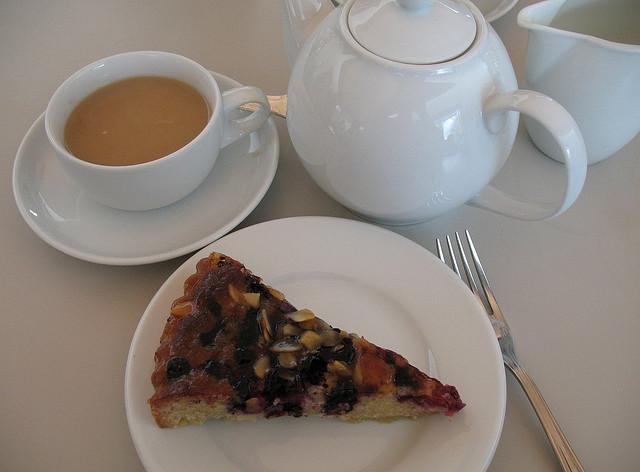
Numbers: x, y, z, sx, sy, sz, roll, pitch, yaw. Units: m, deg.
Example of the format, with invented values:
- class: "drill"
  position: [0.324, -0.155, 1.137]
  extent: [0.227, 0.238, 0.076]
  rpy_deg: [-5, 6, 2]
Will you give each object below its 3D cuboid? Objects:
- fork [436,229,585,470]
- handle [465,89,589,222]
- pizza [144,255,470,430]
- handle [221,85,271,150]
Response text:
- class: "fork"
  position: [0.300, 0.193, 0.864]
  extent: [0.036, 0.038, 0.360]
  rpy_deg: [-11, 67, -19]
- class: "handle"
  position: [0.322, -0.119, 0.882]
  extent: [0.189, 0.220, 0.104]
  rpy_deg: [28, 72, 8]
- class: "pizza"
  position: [-0.046, 0.195, 0.822]
  extent: [0.352, 0.099, 0.262]
  rpy_deg: [16, 54, 7]
- class: "handle"
  position: [-0.143, -0.226, 1.006]
  extent: [0.118, 0.087, 0.077]
  rpy_deg: [-26, 79, -3]
